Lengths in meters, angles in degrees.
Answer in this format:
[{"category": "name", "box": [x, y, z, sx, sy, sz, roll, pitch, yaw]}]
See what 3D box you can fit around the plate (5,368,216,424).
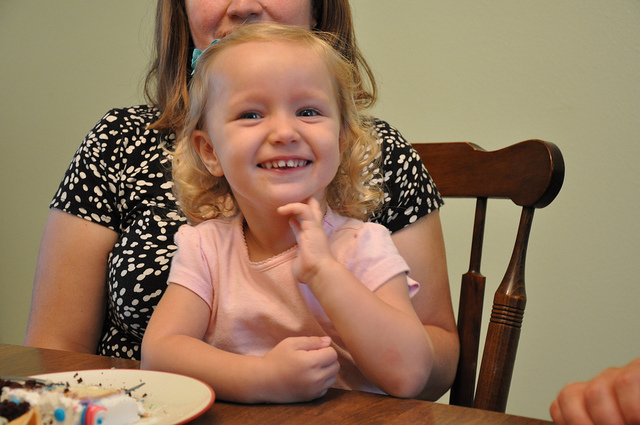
[{"category": "plate", "box": [-0.379, 0.349, 1.294, 0.365, 0.087, 0.114, 4, -7, 23]}]
